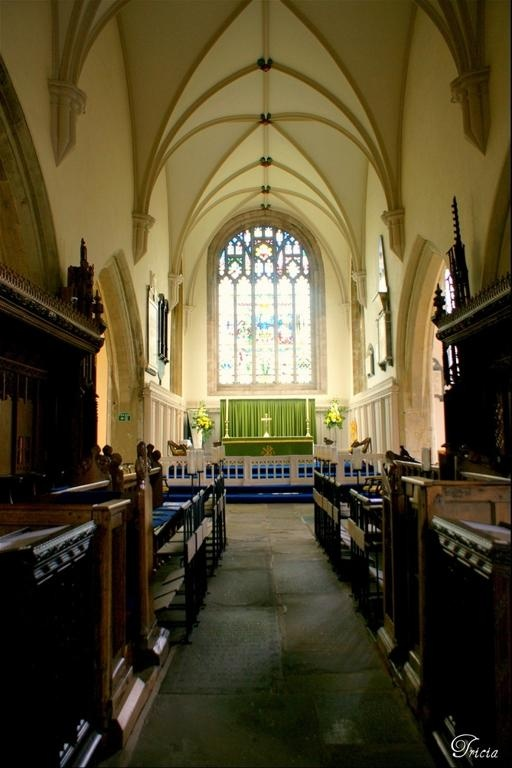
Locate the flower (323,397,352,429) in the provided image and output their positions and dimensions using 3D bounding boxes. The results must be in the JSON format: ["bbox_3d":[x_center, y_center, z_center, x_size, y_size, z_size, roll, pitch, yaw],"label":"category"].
[{"bbox_3d":[2.717,1.015,18.087,0.840,1.347,0.871,-4,2,-14],"label":"flower"}]

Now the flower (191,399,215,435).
[{"bbox_3d":[-1.770,1.000,17.809,0.865,1.204,0.796,0,-11,-5],"label":"flower"}]

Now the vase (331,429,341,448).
[{"bbox_3d":[2.687,1.766,18.762,0.365,0.680,0.487,-1,-6,-1],"label":"vase"}]
